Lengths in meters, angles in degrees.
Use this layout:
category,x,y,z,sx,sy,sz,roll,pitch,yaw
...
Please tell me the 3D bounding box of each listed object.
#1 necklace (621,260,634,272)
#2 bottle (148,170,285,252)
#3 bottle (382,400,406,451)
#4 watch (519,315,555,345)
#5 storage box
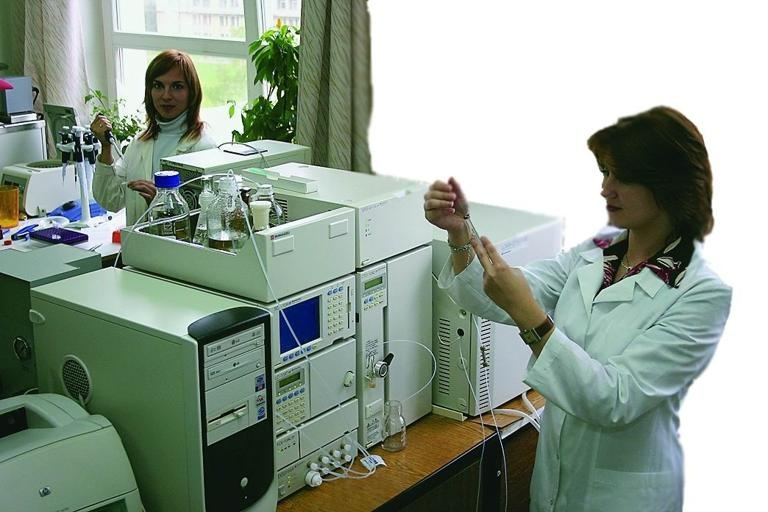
category,x,y,z,sx,sy,sz,roll,pitch,yaw
necklace,0.677,0.030,1.706,0.019,0.026,0.014,6,58,23
bottle,-0.499,-0.200,1.877,0.311,0.200,0.304,0,20,0
bottle,0.041,0.551,2.037,0.079,0.151,0.123,2,14,3
watch,0.392,0.188,1.562,0.053,0.035,0.058,-29,-9,-10
storage box,-0.445,-0.005,1.841,0.467,0.156,0.334,11,18,33
